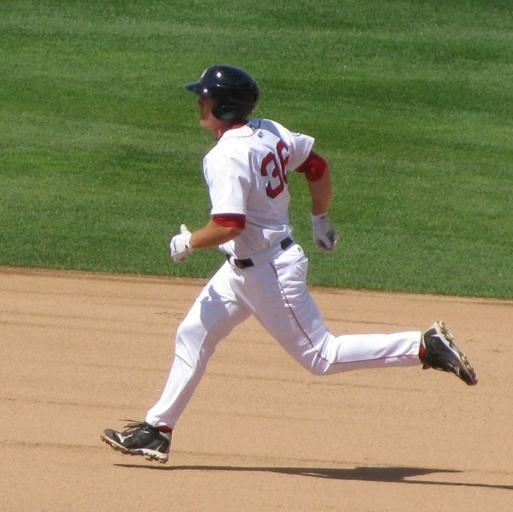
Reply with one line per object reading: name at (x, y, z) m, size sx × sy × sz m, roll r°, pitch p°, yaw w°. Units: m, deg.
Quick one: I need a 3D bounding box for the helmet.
helmet at (-0.264, -1.319, 11.585) m, size 0.598 × 0.488 × 0.470 m, roll 0°, pitch 8°, yaw 9°

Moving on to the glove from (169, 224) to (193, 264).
glove at (-0.585, -0.106, 11.346) m, size 0.109 × 0.259 × 0.257 m, roll 9°, pitch -2°, yaw -29°
